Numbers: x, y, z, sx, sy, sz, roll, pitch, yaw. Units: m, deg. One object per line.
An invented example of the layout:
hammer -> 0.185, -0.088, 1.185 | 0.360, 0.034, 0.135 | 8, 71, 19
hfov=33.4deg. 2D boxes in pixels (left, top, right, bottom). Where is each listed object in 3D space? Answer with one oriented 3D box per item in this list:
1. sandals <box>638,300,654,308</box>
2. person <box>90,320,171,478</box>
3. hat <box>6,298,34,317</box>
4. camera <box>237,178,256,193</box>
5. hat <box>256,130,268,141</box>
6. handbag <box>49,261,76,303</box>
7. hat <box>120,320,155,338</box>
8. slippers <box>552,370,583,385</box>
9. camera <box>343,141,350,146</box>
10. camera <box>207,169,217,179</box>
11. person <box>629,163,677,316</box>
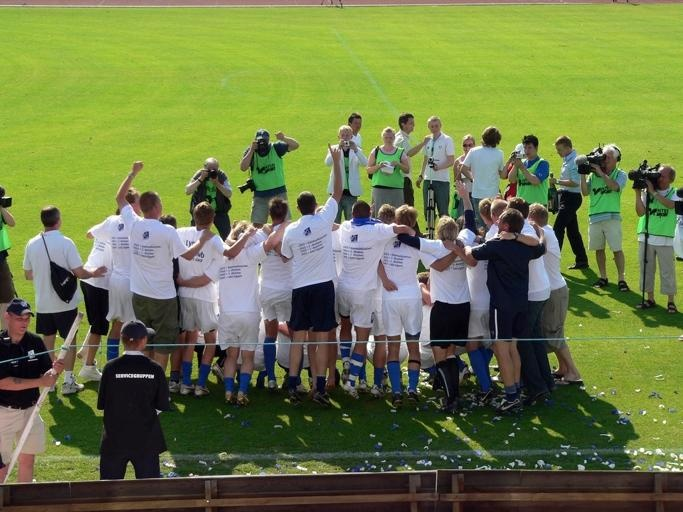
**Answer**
sandals -> 5.729, 0.893, 21.391 | 0.361, 0.145, 0.124 | -1, 15, -7
person -> -3.164, 2.477, 17.156 | 1.012, 3.000, 0.890 | 1, 6, -8
hat -> -4.868, 0.768, 17.048 | 0.314, 0.166, 0.228 | -1, 0, 33
camera -> -1.928, -1.378, 22.637 | 0.129, 0.301, 0.304 | 45, 14, 16
hat -> -1.572, -2.371, 22.482 | 0.251, 0.192, 0.385 | 5, 4, -4
handbag -> -4.726, 0.440, 19.120 | 0.396, 0.927, 0.196 | -6, 37, -6
hat -> -3.038, 1.120, 16.904 | 0.385, 0.207, 0.253 | -9, 16, -39
slippers -> 3.794, 2.054, 19.339 | 0.564, 0.142, 0.208 | 2, 18, -1
camera -> 0.088, -2.227, 22.662 | 0.155, 0.091, 0.085 | 1, -2, 11
camera -> -2.491, -1.562, 21.868 | 0.188, 0.105, 0.127 | -14, 10, 0
person -> 5.882, -0.331, 21.307 | 0.782, 2.683, 0.689 | 0, 11, 13
